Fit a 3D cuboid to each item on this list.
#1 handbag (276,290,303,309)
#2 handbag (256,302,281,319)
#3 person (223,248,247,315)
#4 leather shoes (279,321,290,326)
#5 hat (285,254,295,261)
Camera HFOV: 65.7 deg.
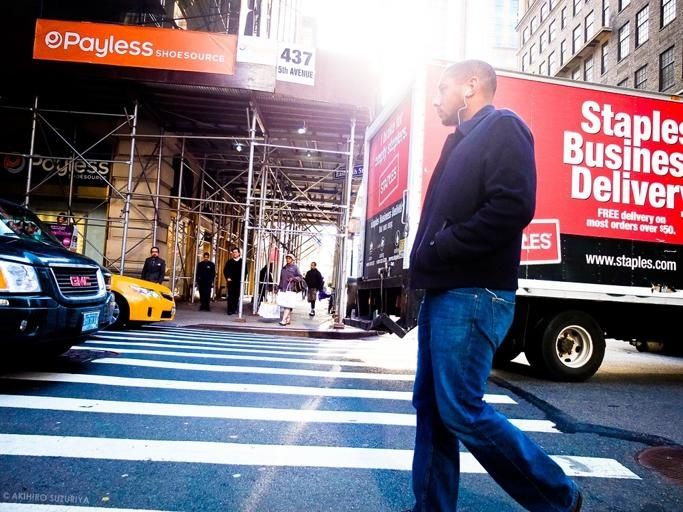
[{"bbox_3d":[-1.498,1.193,14.781,0.574,0.506,0.859,2,4,-9],"label":"handbag"},{"bbox_3d":[-2.062,1.526,15.103,0.419,0.567,0.771,1,-1,2],"label":"handbag"},{"bbox_3d":[-3.645,0.814,17.683,0.535,2.206,1.259,2,4,-13],"label":"person"},{"bbox_3d":[-1.570,1.844,14.633,0.318,0.130,0.107,7,-12,-22],"label":"leather shoes"},{"bbox_3d":[-1.587,0.018,16.256,0.259,0.139,0.371,12,-13,1],"label":"hat"}]
